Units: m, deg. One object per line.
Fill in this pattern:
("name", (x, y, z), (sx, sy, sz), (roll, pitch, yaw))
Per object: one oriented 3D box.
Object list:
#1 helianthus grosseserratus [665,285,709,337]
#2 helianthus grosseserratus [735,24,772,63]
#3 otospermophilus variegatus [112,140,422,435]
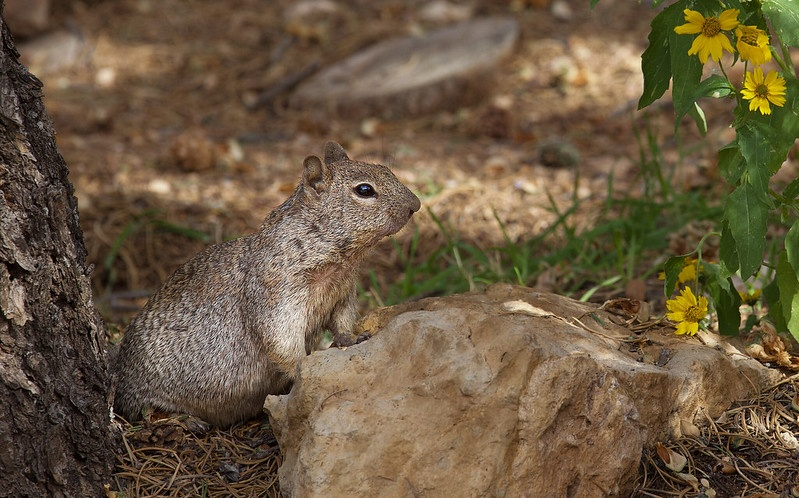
("helianthus grosseserratus", (2.115, 0.441, 7.036), (0.356, 0.373, 0.352), (-1, 22, 9))
("helianthus grosseserratus", (2.482, -1.427, 6.542), (0.269, 0.256, 0.175), (2, 18, -31))
("otospermophilus variegatus", (-1.139, 0.361, 8.374), (2.368, 2.151, 2.741), (4, -2, -3))
